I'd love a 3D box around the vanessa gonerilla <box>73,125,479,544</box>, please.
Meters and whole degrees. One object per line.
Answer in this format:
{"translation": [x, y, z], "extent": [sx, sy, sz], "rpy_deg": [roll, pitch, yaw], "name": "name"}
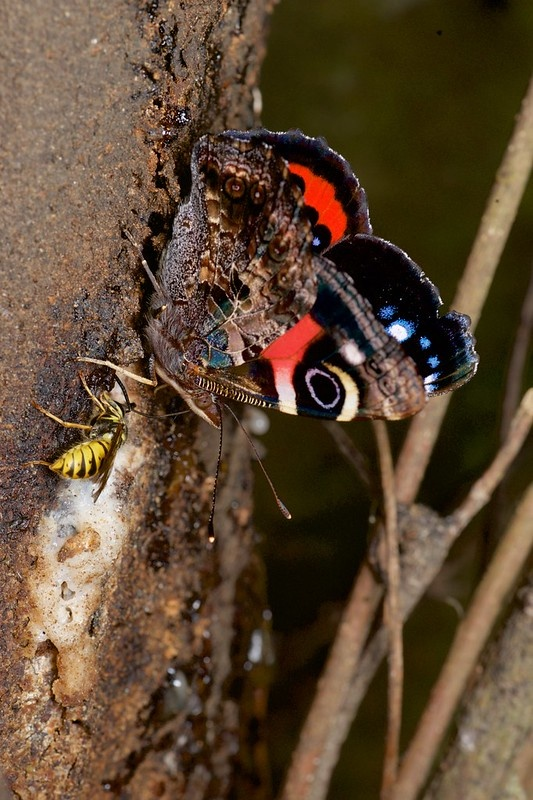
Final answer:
{"translation": [0.034, -0.183, 2.061], "extent": [1.103, 0.593, 0.495], "rpy_deg": [-10, 40, -13], "name": "vanessa gonerilla"}
